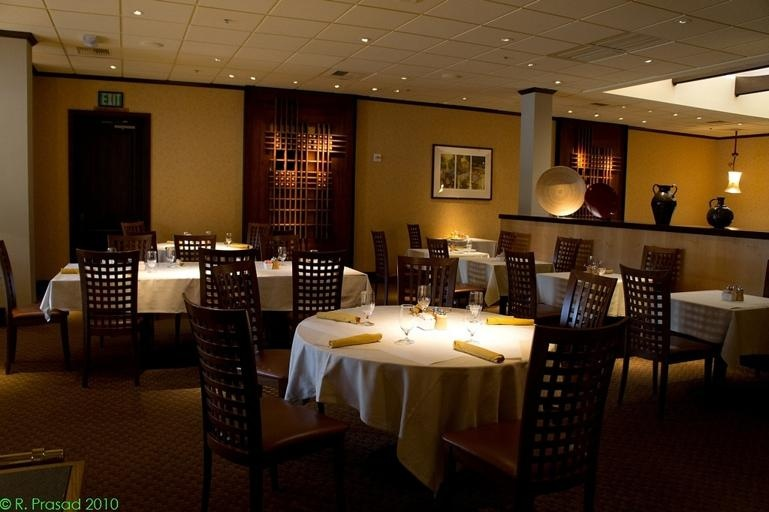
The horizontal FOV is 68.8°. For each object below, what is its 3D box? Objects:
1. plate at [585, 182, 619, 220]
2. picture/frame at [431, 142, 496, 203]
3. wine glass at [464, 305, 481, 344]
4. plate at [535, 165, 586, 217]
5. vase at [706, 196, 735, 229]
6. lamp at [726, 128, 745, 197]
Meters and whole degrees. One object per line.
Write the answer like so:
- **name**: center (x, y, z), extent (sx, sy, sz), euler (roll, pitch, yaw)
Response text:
- **plate**: center (3.273, -0.835, 8.548), extent (0.381, 0.558, 0.608), euler (6, 8, 41)
- **picture/frame**: center (1.654, -1.751, 11.762), extent (1.260, 1.107, 0.055), euler (2, 2, 1)
- **wine glass**: center (0.651, 0.478, 4.104), extent (0.092, 0.275, 0.251), euler (2, 6, 11)
- **plate**: center (2.477, -0.927, 7.901), extent (0.619, 0.670, 0.258), euler (4, 7, 24)
- **vase**: center (4.183, -0.528, 7.002), extent (0.303, 0.430, 0.309), euler (3, 2, 42)
- **lamp**: center (8.256, -2.218, 13.218), extent (0.317, 1.519, 2.489), euler (5, 7, 32)
